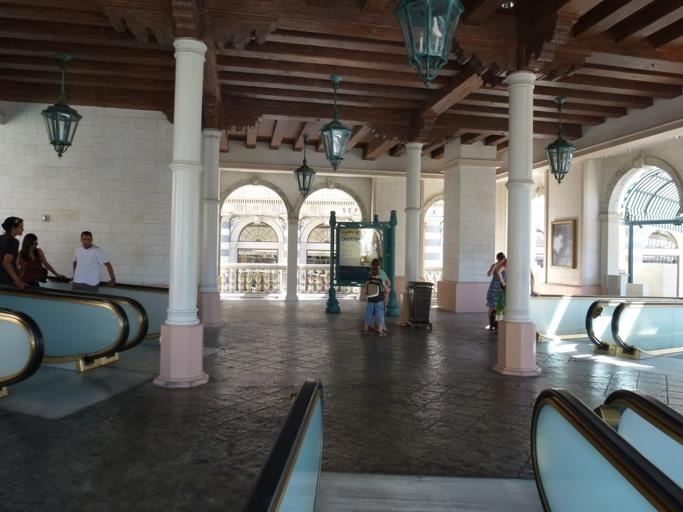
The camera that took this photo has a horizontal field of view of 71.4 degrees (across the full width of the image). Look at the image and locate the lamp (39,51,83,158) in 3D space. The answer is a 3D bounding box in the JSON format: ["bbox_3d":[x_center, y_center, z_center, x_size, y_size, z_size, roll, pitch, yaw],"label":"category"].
[{"bbox_3d":[-4.358,-2.248,7.407,0.465,1.539,1.592,-1,1,-31],"label":"lamp"}]

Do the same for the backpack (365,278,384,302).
[{"bbox_3d":[0.629,0.638,8.833,0.312,0.448,0.180,0,0,5],"label":"backpack"}]

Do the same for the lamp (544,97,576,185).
[{"bbox_3d":[4.235,-2.193,9.177,0.426,1.721,2.165,0,1,26],"label":"lamp"}]

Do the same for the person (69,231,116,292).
[{"bbox_3d":[-3.980,0.104,7.605,0.581,0.932,0.408,-1,1,-25],"label":"person"}]

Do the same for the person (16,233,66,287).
[{"bbox_3d":[-4.817,0.348,7.665,0.711,1.380,0.404,-2,23,-31],"label":"person"}]
